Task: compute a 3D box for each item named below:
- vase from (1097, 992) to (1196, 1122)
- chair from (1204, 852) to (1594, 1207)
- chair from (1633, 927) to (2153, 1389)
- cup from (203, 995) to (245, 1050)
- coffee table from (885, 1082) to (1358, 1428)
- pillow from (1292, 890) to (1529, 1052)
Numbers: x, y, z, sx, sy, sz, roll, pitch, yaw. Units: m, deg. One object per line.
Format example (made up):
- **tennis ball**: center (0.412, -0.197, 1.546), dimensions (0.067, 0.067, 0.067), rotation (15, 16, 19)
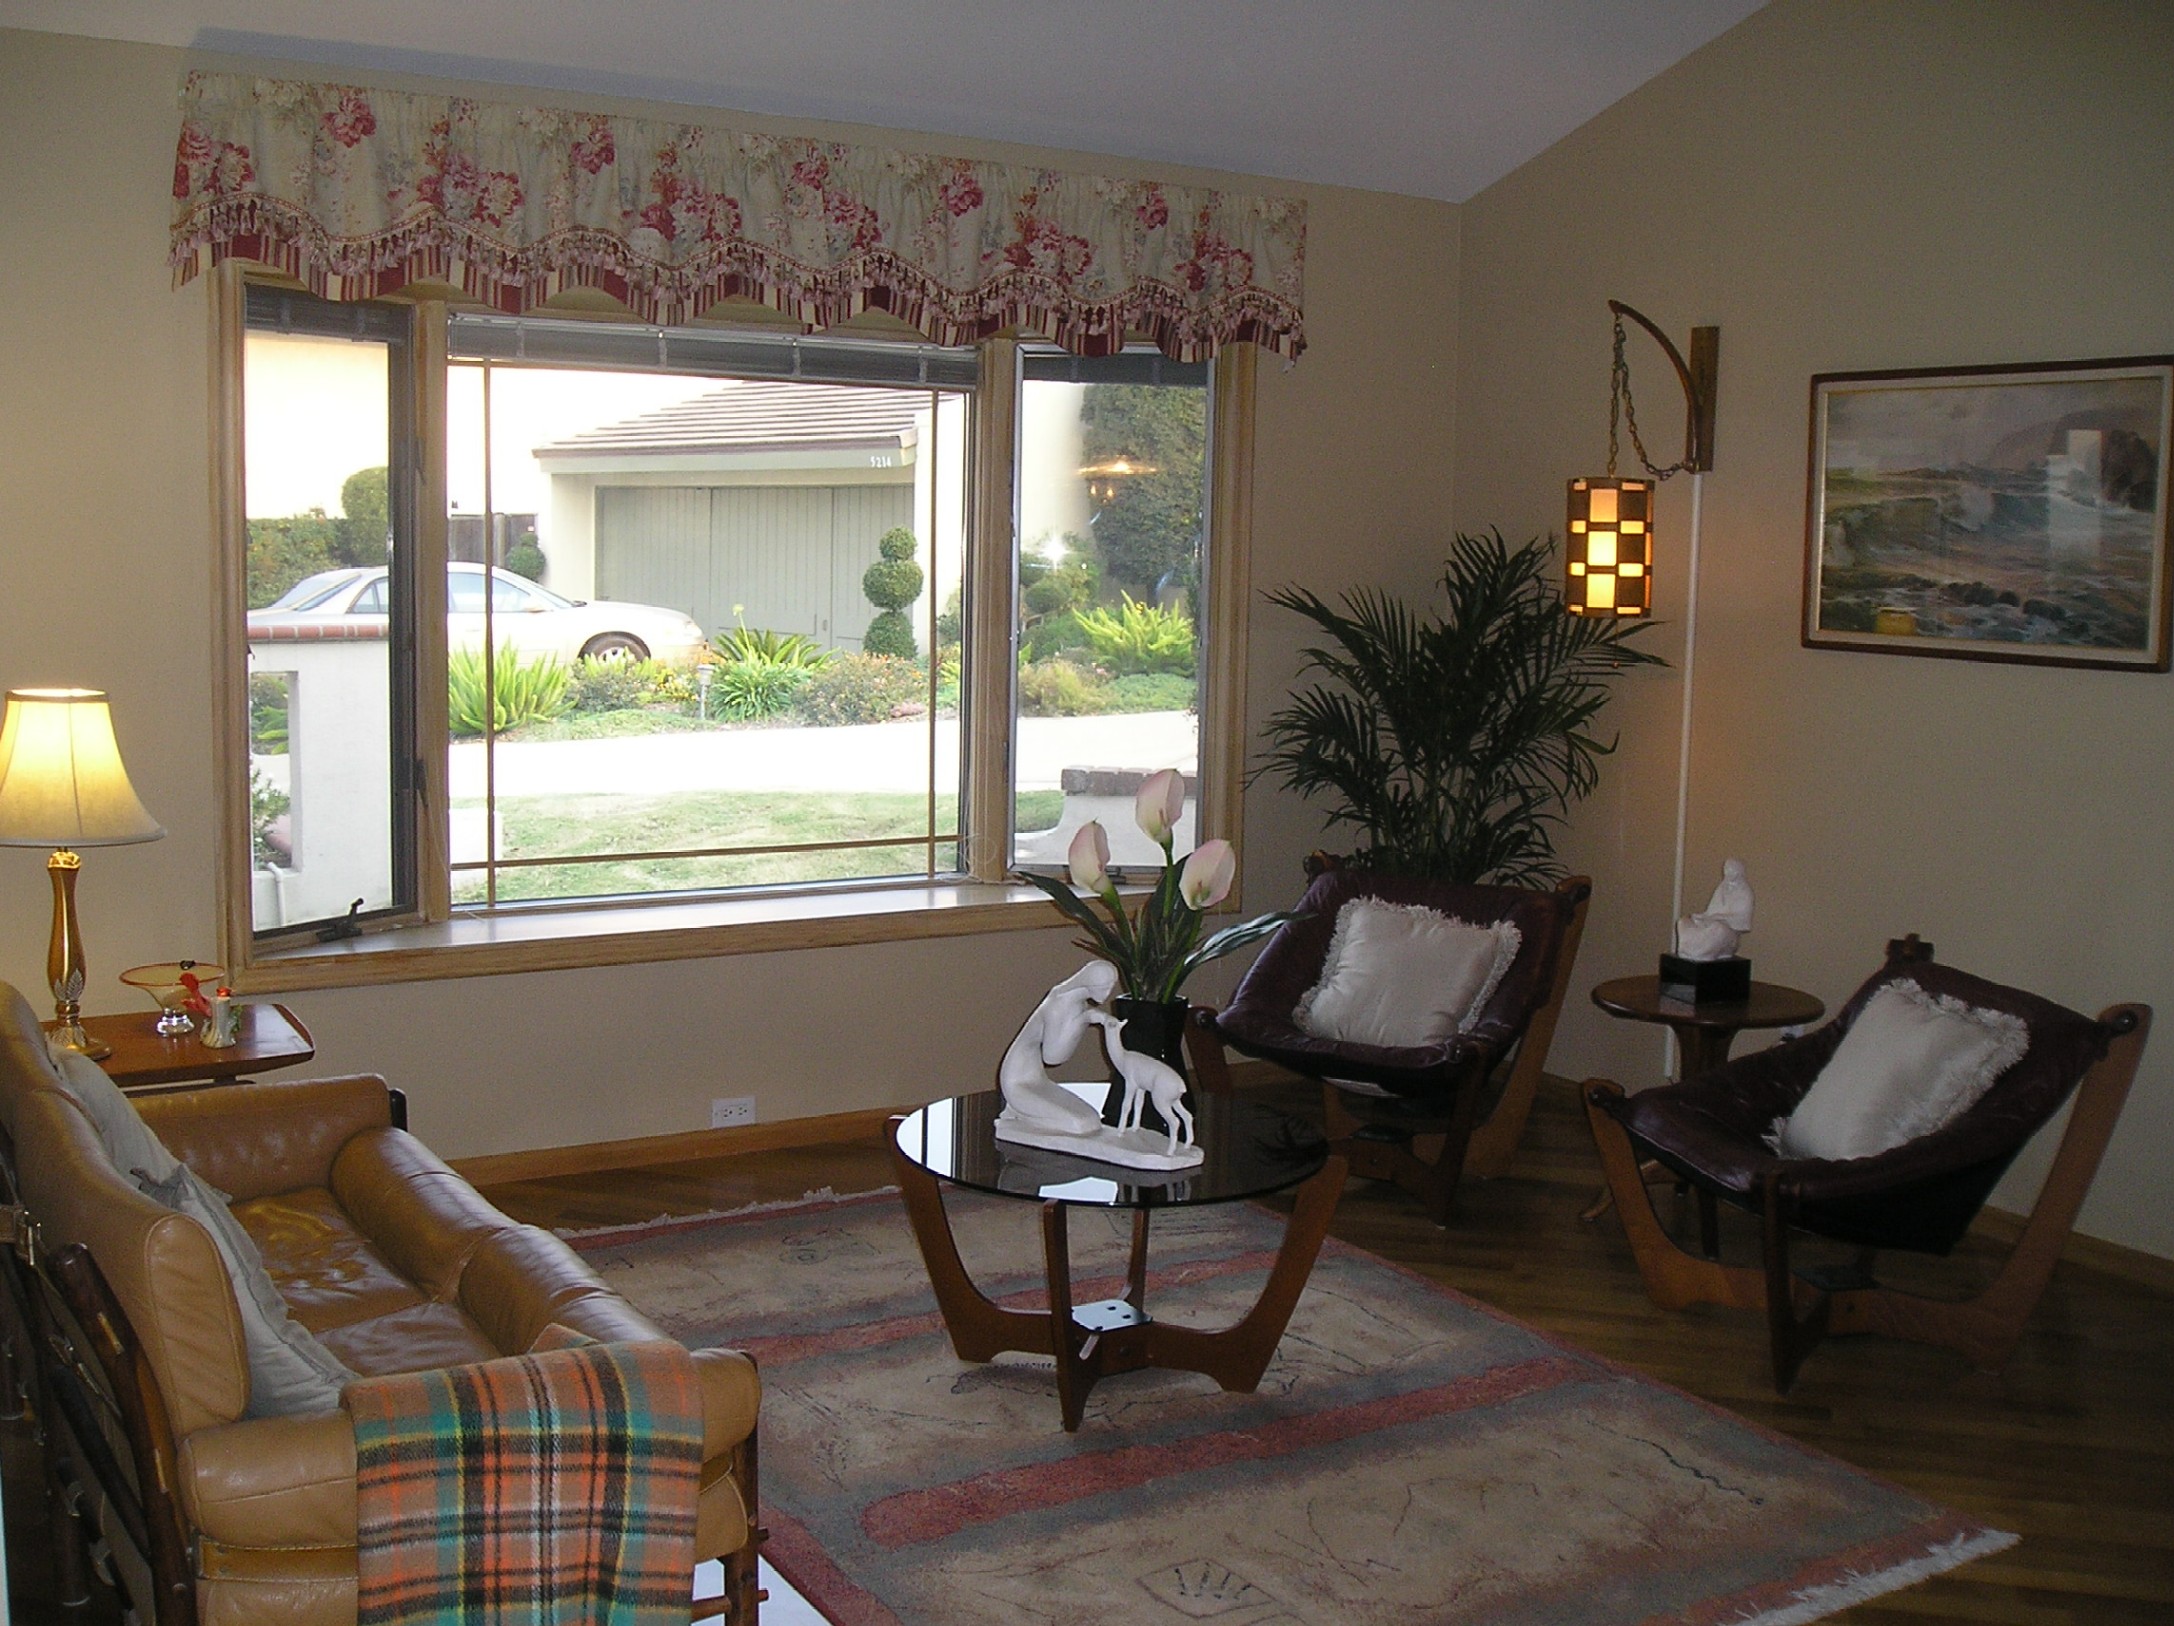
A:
- **vase**: center (0.155, 0.564, 4.155), dimensions (0.212, 0.268, 0.203), rotation (-16, 27, -37)
- **chair**: center (0.992, 0.574, 5.351), dimensions (1.142, 1.056, 1.102), rotation (7, 12, 33)
- **chair**: center (1.949, 0.838, 4.419), dimensions (1.194, 1.067, 1.150), rotation (-3, 11, -16)
- **cup**: center (-2.207, 0.540, 4.195), dimensions (0.072, 0.127, 0.070), rotation (14, 16, -4)
- **coffee table**: center (0.077, 1.016, 3.925), dimensions (0.811, 0.457, 0.805), rotation (4, 13, 19)
- **pillow**: center (0.984, 0.510, 5.157), dimensions (0.592, 0.376, 0.452), rotation (9, 12, 39)
